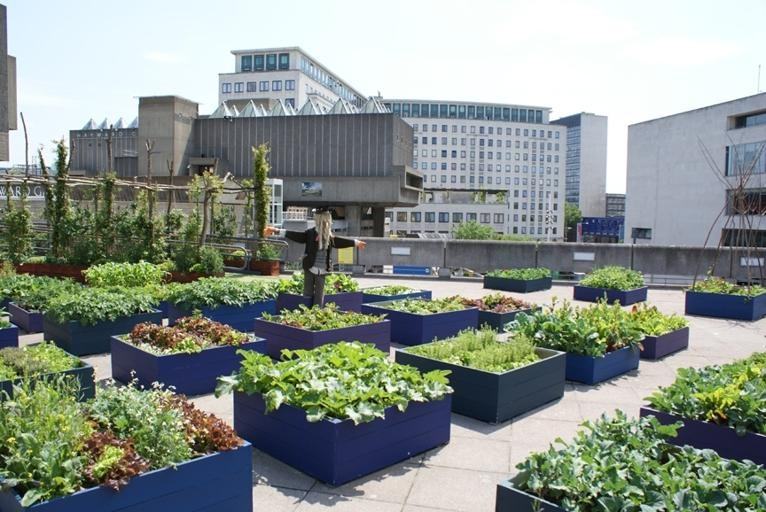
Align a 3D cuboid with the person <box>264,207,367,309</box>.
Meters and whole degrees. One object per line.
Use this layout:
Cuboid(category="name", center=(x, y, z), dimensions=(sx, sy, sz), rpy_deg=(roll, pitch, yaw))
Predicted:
Cuboid(category="person", center=(-1.253, 0.091, 11.765), dimensions=(1.195, 1.930, 1.169), rpy_deg=(2, 8, -7))
